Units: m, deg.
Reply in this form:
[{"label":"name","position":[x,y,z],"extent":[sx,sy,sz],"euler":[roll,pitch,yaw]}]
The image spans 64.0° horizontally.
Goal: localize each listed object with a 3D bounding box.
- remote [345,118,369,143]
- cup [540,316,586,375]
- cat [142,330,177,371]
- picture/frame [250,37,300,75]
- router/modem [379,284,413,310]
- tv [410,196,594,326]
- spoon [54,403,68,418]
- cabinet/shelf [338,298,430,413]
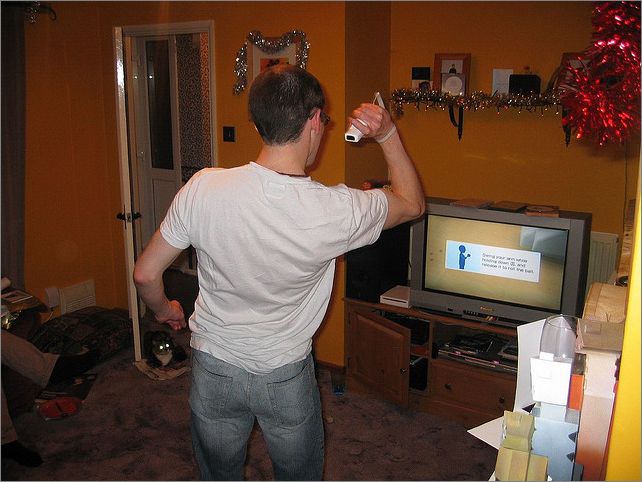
[{"label":"remote","position":[0.121,-0.381,1.772],"extent":[0.061,0.049,0.118],"euler":[12,53,8]},{"label":"cup","position":[0.623,0.256,1.352],"extent":[0.128,0.136,0.134],"euler":[-1,14,0]},{"label":"cat","position":[-1.249,0.845,3.962],"extent":[0.191,0.279,0.089],"euler":[-5,-7,-10]},{"label":"picture/frame","position":[-0.325,-1.313,3.747],"extent":[0.372,0.275,0.010],"euler":[-6,4,-19]},{"label":"router/modem","position":[0.532,0.387,3.534],"extent":[0.133,0.040,0.151],"euler":[7,21,25]},{"label":"tv","position":[1.195,0.122,3.442],"extent":[1.044,0.787,0.569],"euler":[7,15,29]},{"label":"spoon","position":[-1.710,1.130,3.394],"extent":[0.038,0.042,0.205],"euler":[0,18,-19]},{"label":"cabinet/shelf","position":[0.429,0.720,3.769],"extent":[0.599,0.855,0.599],"euler":[8,13,30]}]
